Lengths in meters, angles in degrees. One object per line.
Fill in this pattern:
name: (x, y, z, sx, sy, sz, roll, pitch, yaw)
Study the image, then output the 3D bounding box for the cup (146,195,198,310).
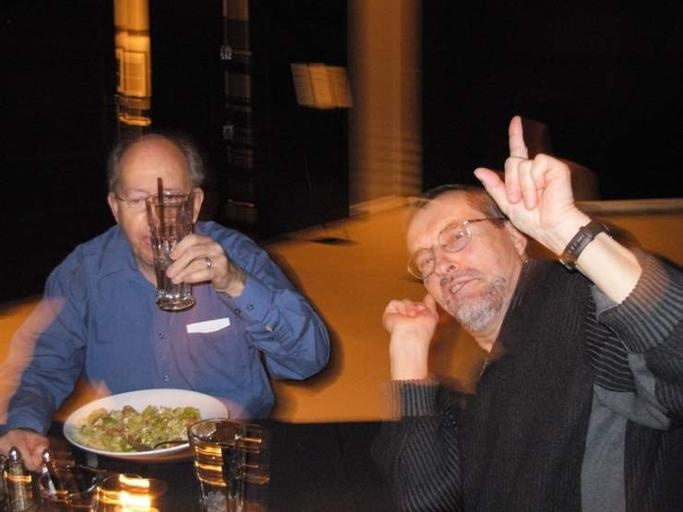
cup: (-0.483, -0.011, 1.782, 0.136, 0.328, 0.117, -10, 17, -21)

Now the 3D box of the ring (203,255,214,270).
ring: (-0.380, 0.017, 1.759, 0.029, 0.029, 0.028, -5, 1, 0)
